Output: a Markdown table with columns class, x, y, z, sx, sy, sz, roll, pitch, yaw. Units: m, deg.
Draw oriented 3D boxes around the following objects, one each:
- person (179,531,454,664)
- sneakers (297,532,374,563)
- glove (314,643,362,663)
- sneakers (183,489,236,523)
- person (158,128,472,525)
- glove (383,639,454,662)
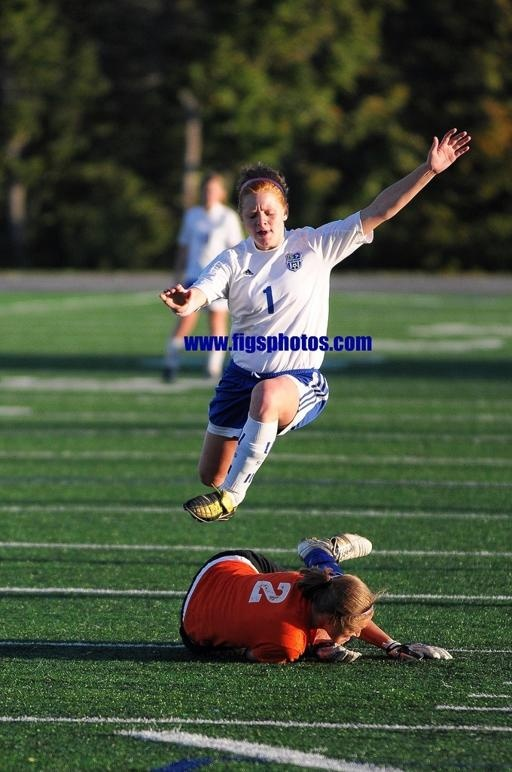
| class | x | y | z | sx | sy | sz | roll | pitch | yaw |
| --- | --- | --- | --- | --- | --- | --- | --- | --- | --- |
| person | 0.214 | 0.809 | 4.615 | 0.750 | 0.374 | 0.667 | -5 | 10 | -38 |
| sneakers | 0.332 | 0.630 | 4.998 | 0.341 | 0.104 | 0.136 | -6 | -20 | -6 |
| glove | 0.301 | 0.961 | 4.626 | 0.167 | 0.067 | 0.063 | -1 | 15 | 13 |
| sneakers | -0.190 | 0.491 | 5.135 | 0.097 | 0.119 | 0.251 | 49 | 25 | 20 |
| person | 0.158 | -0.238 | 4.998 | 1.155 | 1.601 | 1.117 | 0 | -14 | 38 |
| glove | 0.579 | 0.957 | 4.574 | 0.160 | 0.061 | 0.099 | 9 | 9 | -7 |
